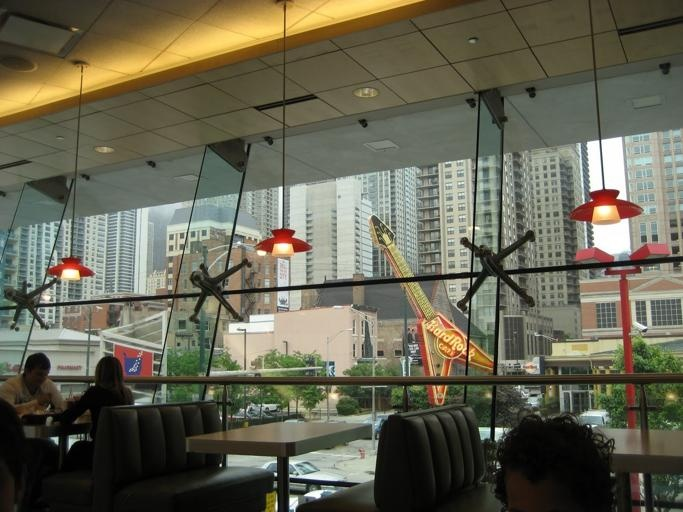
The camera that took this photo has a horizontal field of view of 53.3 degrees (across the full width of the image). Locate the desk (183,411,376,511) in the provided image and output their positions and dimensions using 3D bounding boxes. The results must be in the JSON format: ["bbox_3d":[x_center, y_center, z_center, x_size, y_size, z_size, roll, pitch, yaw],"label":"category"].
[{"bbox_3d":[-0.413,1.318,4.069,0.568,0.537,0.979,-5,-12,28],"label":"desk"}]

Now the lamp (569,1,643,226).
[{"bbox_3d":[1.959,-0.959,5.286,0.461,1.657,1.570,-6,-13,20],"label":"lamp"}]
